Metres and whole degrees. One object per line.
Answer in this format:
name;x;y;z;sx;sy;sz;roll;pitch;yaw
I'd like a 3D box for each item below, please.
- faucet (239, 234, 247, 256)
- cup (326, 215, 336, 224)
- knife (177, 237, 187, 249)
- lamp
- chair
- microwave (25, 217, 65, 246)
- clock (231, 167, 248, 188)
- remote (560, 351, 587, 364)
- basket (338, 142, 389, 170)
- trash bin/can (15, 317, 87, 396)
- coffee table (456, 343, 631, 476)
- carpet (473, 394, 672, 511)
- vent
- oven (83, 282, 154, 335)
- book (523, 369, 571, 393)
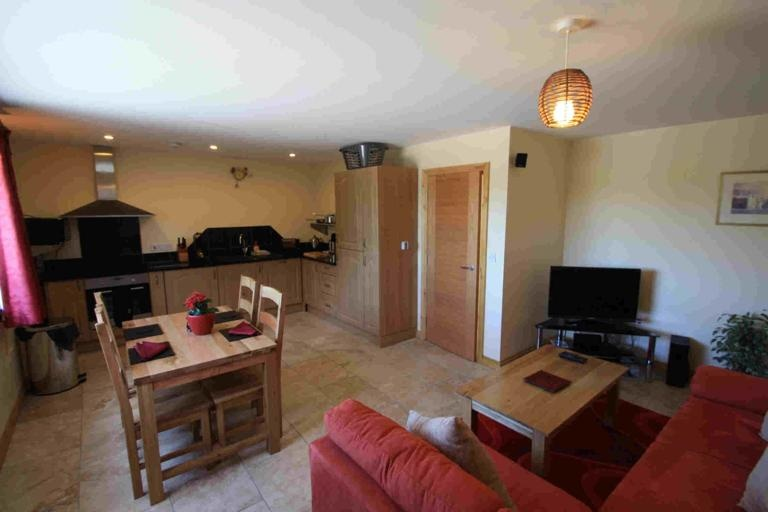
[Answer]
faucet;-2.121;-0.176;7.565;0.126;0.309;0.068;-7;9;-21
cup;-0.792;-0.564;7.734;0.195;0.136;0.145;1;0;-42
knife;-2.827;-0.169;7.027;0.137;0.187;0.136;-7;9;-22
lamp;1.353;-1.313;3.647;0.341;0.727;0.407;3;10;36
chair;-1.674;1.121;4.552;1.450;1.596;1.112;-8;9;-30
microwave;-3.980;-0.287;5.874;0.198;0.346;0.397;6;6;35
clock;-2.136;-1.178;7.439;0.284;0.257;0.064;-18;25;-37
remote;1.791;0.972;4.767;0.151;0.035;0.112;9;11;43
basket;-0.264;-1.282;6.368;0.417;0.146;0.409;-4;3;-32
trash bin/can;-3.485;1.053;5.462;0.585;0.707;0.735;7;12;42
coffee table;1.318;1.169;4.347;1.439;0.680;0.816;-11;16;-37
carpet;1.710;1.715;4.570;1.241;0.295;0.847;-11;17;-42
vent;-3.631;-0.928;6.570;1.101;0.971;1.195;-5;-1;-12
oven;-3.428;0.701;6.333;0.460;0.783;0.876;-2;4;26
book;1.411;1.096;4.386;0.202;0.036;0.200;-9;14;-37
